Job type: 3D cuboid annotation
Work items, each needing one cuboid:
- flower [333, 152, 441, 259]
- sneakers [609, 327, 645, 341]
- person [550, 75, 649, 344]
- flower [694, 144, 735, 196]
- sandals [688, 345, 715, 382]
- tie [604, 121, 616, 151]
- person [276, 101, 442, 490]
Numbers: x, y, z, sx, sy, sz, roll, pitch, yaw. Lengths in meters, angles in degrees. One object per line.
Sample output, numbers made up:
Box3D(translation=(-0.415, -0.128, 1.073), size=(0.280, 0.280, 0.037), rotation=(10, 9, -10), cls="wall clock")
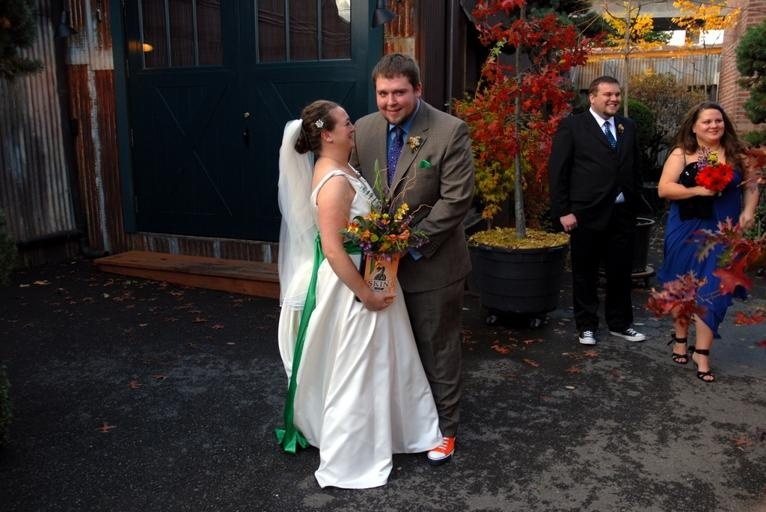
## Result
Box3D(translation=(0.043, -0.289, 3.703), size=(0.601, 0.706, 0.495), rotation=(0, 15, 4), cls="flower")
Box3D(translation=(2.635, 0.843, 5.745), size=(0.132, 0.134, 0.353), rotation=(-6, 1, -39), cls="sneakers")
Box3D(translation=(2.271, -0.468, 5.580), size=(1.050, 2.705, 0.705), rotation=(3, 16, 16), cls="person")
Box3D(translation=(2.957, -0.797, 4.753), size=(0.263, 0.206, 0.381), rotation=(-8, 53, 32), cls="flower")
Box3D(translation=(2.984, 0.997, 5.051), size=(0.152, 0.198, 0.490), rotation=(-2, 9, 8), cls="sandals")
Box3D(translation=(2.355, -1.293, 5.533), size=(0.072, 0.411, 0.060), rotation=(-4, -11, -10), cls="tie")
Box3D(translation=(-0.164, 0.214, 3.879), size=(1.521, 2.488, 1.189), rotation=(-6, 21, -1), cls="person")
